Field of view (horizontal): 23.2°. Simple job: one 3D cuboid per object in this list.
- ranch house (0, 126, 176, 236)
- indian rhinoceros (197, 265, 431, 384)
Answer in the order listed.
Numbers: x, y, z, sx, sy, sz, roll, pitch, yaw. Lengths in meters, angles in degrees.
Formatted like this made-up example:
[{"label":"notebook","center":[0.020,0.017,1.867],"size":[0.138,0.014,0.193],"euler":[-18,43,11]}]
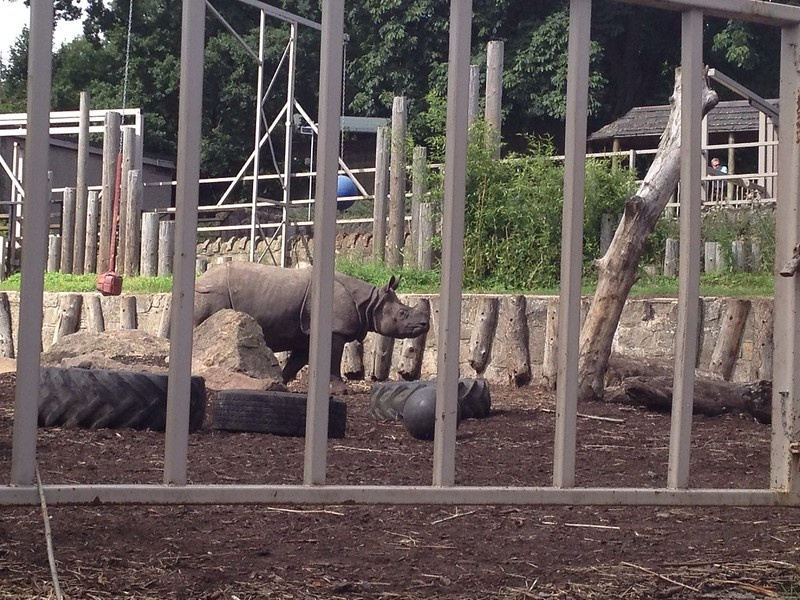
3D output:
[{"label":"ranch house","center":[-7.725,-2.745,47.727],"size":[5.291,2.536,1.219],"euler":[-1,8,-33]},{"label":"indian rhinoceros","center":[-1.627,0.405,33.303],"size":[4.689,2.747,1.743],"euler":[4,2,-9]}]
